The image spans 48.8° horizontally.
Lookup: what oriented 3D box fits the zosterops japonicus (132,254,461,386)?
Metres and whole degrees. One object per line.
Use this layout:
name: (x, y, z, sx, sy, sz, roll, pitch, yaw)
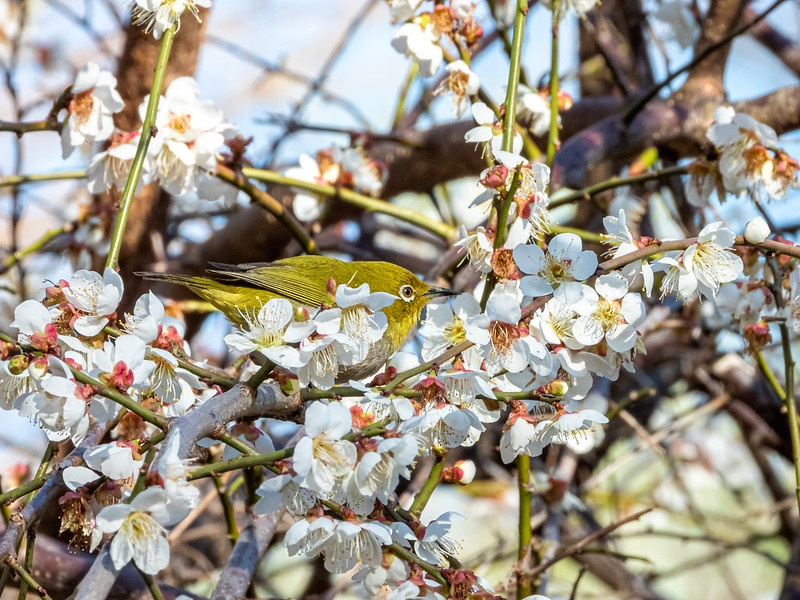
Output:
zosterops japonicus: (-0.450, 0.076, 3.941, 1.103, 0.534, 0.349, 23, -2, 0)
